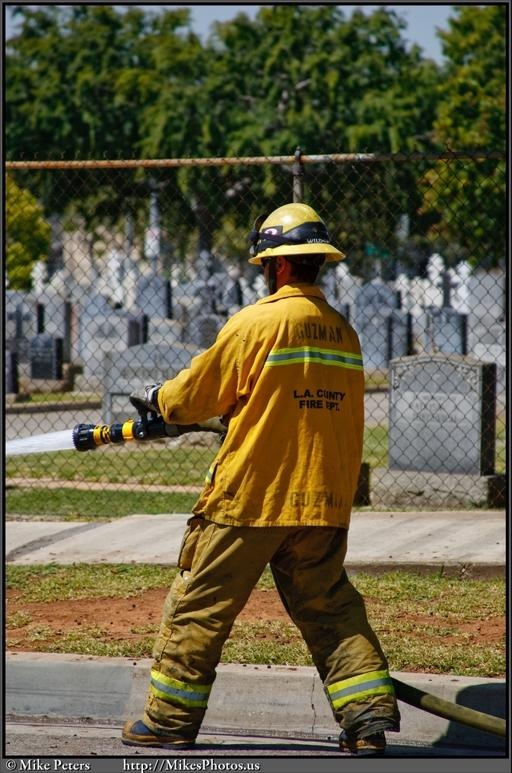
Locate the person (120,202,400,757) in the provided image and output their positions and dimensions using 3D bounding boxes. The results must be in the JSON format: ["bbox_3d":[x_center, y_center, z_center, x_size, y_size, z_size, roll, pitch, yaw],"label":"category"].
[{"bbox_3d":[0.049,0.367,5.639,1.057,2.354,0.332,-1,-2,4],"label":"person"}]

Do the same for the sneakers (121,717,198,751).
[{"bbox_3d":[-0.408,1.480,5.658,0.288,0.112,0.129,6,-4,16],"label":"sneakers"}]

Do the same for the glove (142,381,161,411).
[{"bbox_3d":[-0.456,0.041,5.819,0.052,0.059,0.144,3,17,-11],"label":"glove"}]

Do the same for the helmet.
[{"bbox_3d":[0.179,-0.682,5.830,0.404,0.231,0.440,-6,7,-29],"label":"helmet"}]
